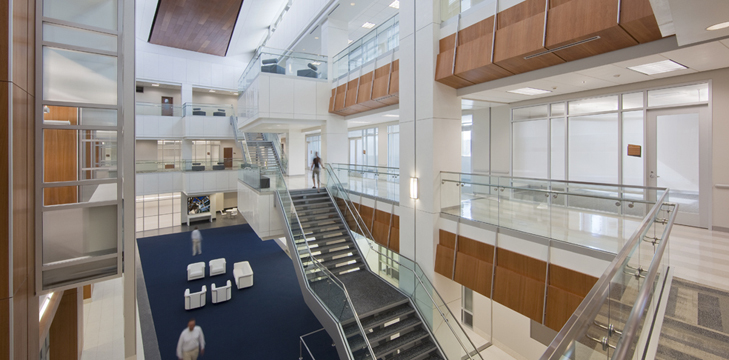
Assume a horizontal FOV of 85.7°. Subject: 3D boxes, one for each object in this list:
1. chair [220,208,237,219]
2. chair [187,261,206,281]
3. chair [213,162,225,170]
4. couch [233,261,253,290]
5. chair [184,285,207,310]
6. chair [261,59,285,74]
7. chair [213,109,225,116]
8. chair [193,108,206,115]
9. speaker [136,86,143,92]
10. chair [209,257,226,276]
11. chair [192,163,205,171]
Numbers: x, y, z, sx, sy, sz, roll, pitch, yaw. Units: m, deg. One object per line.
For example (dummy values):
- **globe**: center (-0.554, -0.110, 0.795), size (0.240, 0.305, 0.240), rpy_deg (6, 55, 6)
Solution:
- **chair**: center (-11.664, 2.925, 34.114), size (0.943, 0.392, 1.056), rpy_deg (-2, 3, -45)
- **chair**: center (-9.618, 5.233, 22.551), size (1.296, 0.952, 0.909), rpy_deg (1, -8, -22)
- **chair**: center (-11.096, -1.016, 29.910), size (0.663, 0.369, 0.646), rpy_deg (-2, -2, 36)
- **couch**: center (-6.582, 5.316, 21.913), size (1.312, 0.937, 2.180), rpy_deg (-2, 15, -19)
- **chair**: center (-8.530, 6.013, 19.858), size (1.171, 0.903, 0.600), rpy_deg (2, -5, -35)
- **chair**: center (-5.074, -6.089, 21.485), size (1.383, 1.065, 0.837), rpy_deg (-1, 11, -17)
- **chair**: center (-11.571, -5.352, 31.454), size (0.867, 0.664, 0.634), rpy_deg (0, 0, -45)
- **chair**: center (-12.837, -5.214, 30.472), size (0.637, 0.526, 0.690), rpy_deg (-3, 6, -45)
- **speaker**: center (-18.925, -7.601, 33.119), size (0.475, 0.446, 0.244), rpy_deg (-2, 6, -19)
- **chair**: center (-8.487, 5.132, 23.021), size (1.263, 0.966, 0.876), rpy_deg (1, -9, -24)
- **chair**: center (-12.404, -0.961, 29.269), size (0.891, 0.630, 0.346), rpy_deg (-3, 7, -24)
